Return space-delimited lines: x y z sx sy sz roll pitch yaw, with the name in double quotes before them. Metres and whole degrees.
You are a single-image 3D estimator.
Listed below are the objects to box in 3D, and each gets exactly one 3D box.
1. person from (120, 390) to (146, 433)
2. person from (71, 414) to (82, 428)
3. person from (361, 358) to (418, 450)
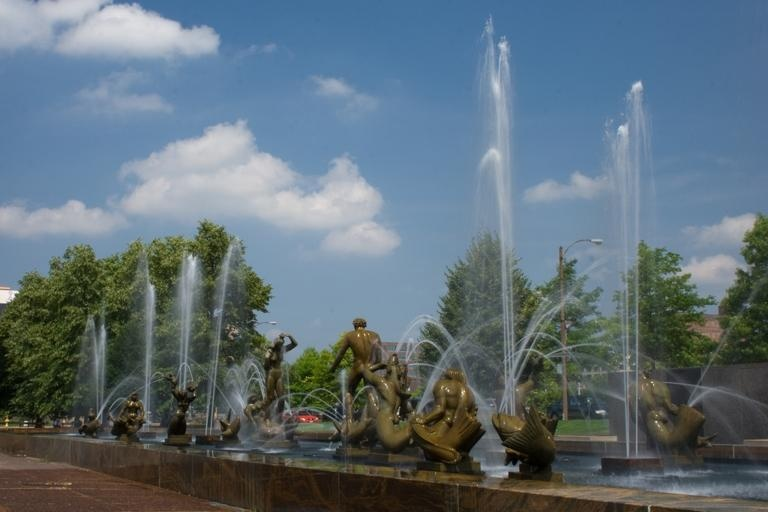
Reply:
"person" -9.568 5.984 37.699 0.834 1.613 1.030 3 -16 -13
"person" -18.127 9.860 58.664 0.528 0.801 1.709 4 -16 -15
"person" 0.190 4.601 30.229 1.393 2.697 0.859 -5 -16 17
